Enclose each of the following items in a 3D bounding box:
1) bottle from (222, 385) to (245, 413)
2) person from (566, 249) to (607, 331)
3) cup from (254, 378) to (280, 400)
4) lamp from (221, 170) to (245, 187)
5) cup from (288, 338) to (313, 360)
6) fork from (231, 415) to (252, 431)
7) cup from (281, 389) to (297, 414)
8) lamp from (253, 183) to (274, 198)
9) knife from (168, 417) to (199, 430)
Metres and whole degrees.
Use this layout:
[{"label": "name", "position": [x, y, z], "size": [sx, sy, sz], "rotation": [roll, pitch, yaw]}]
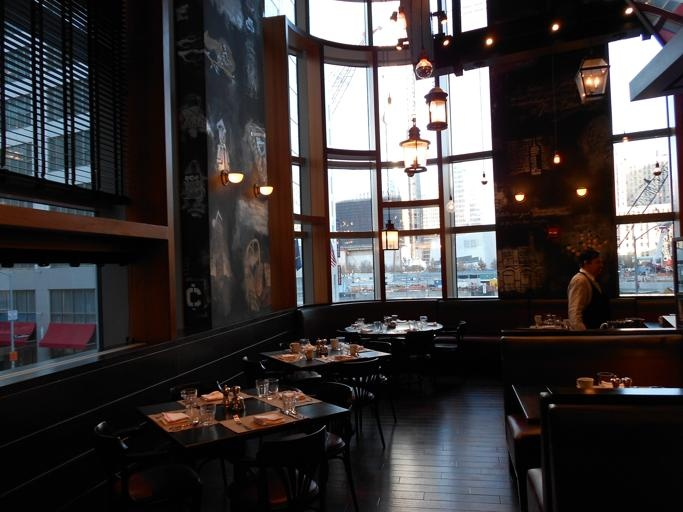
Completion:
[{"label": "bottle", "position": [-0.979, 1.300, 5.161], "size": [0.237, 0.242, 0.133], "rotation": [-1, 1, -29]}, {"label": "person", "position": [2.984, 0.408, 6.839], "size": [0.569, 0.945, 0.383], "rotation": [-1, 5, -21]}, {"label": "cup", "position": [-0.700, 1.258, 5.440], "size": [0.179, 0.156, 0.183], "rotation": [-1, -4, 0]}, {"label": "lamp", "position": [-1.455, -1.060, 7.686], "size": [0.237, 0.192, 0.179], "rotation": [0, -10, 15]}, {"label": "cup", "position": [-0.457, 1.163, 7.135], "size": [0.164, 0.255, 0.273], "rotation": [4, 5, 40]}, {"label": "fork", "position": [-0.871, 1.402, 4.909], "size": [0.060, 0.071, 0.444], "rotation": [2, 2, -27]}, {"label": "cup", "position": [-0.465, 1.295, 5.045], "size": [0.137, 0.183, 0.140], "rotation": [-1, -3, 0]}, {"label": "lamp", "position": [-1.181, -0.991, 8.630], "size": [0.247, 0.183, 0.217], "rotation": [1, 0, 12]}, {"label": "knife", "position": [-1.322, 1.410, 4.789], "size": [0.237, 0.041, 0.155], "rotation": [-2, 6, -25]}]
